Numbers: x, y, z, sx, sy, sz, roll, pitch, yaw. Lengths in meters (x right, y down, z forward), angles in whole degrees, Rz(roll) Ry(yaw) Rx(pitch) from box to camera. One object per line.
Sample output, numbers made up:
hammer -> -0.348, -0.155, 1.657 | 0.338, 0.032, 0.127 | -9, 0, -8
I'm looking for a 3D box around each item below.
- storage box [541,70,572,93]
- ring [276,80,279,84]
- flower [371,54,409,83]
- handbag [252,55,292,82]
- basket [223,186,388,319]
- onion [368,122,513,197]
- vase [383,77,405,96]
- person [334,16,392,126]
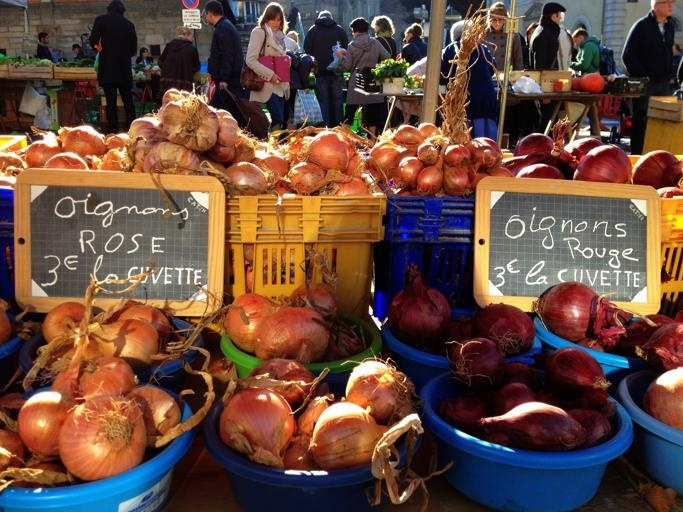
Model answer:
storage box -> 2.265, -1.868, 6.803 | 0.341, 0.243, 0.369 | 2, 16, 8
ring -> -0.602, -1.654, 6.104 | 0.020, 0.023, 0.037 | -2, -3, -7
flower -> 0.557, -2.060, 7.132 | 0.291, 0.197, 0.293 | 15, 23, 43
handbag -> -0.604, -1.741, 6.113 | 0.233, 0.267, 0.082 | 1, 5, -5
basket -> -0.140, -0.033, 2.716 | 0.608, 0.452, 0.452 | 0, 10, 3
onion -> 0.425, -0.342, 2.875 | 0.452, 0.242, 0.403 | 1, 7, -29
vase -> 0.570, -1.864, 7.074 | 0.199, 0.146, 0.205 | 5, 12, 12
person -> 0.296, -2.304, 8.220 | 0.645, 1.449, 1.516 | -1, 6, -8
